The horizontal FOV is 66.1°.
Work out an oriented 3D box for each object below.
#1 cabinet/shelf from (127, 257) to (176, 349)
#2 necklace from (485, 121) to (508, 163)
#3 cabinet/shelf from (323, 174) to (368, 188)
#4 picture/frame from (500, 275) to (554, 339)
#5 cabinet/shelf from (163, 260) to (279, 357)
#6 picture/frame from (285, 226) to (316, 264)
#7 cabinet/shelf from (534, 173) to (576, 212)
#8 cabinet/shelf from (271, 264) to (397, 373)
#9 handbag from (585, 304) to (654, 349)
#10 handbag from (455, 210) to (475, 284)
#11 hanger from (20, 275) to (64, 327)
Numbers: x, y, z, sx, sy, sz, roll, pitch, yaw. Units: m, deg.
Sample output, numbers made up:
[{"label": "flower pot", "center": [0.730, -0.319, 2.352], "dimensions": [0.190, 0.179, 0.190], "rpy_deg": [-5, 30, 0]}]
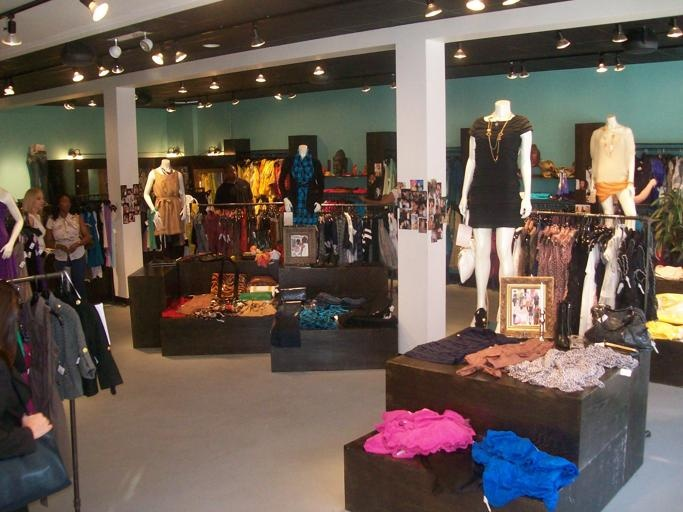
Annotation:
[{"label": "cabinet/shelf", "center": [-2.479, 0.644, 6.910], "dimensions": [0.330, 0.863, 0.994], "rpy_deg": [0, 10, -2]}, {"label": "necklace", "center": [1.486, -1.111, 5.055], "dimensions": [0.201, 0.367, 0.078], "rpy_deg": [1, 10, 17]}, {"label": "cabinet/shelf", "center": [0.010, -1.563, 10.948], "dimensions": [0.997, 0.279, 0.388], "rpy_deg": [4, 12, 27]}, {"label": "picture/frame", "center": [1.549, 0.433, 4.382], "dimensions": [0.446, 0.566, 0.045], "rpy_deg": [0, -4, 10]}, {"label": "cabinet/shelf", "center": [-1.614, 0.972, 6.988], "dimensions": [1.487, 1.182, 1.122], "rpy_deg": [-1, 10, -3]}, {"label": "picture/frame", "center": [-0.555, -0.156, 7.002], "dimensions": [0.428, 0.502, 0.200], "rpy_deg": [-3, 10, -5]}, {"label": "cabinet/shelf", "center": [3.616, -1.107, 9.002], "dimensions": [0.692, 0.552, 1.008], "rpy_deg": [3, 12, 22]}, {"label": "cabinet/shelf", "center": [-0.005, 0.933, 6.630], "dimensions": [1.184, 0.838, 1.305], "rpy_deg": [1, 18, 3]}, {"label": "handbag", "center": [2.093, 0.535, 4.161], "dimensions": [0.217, 0.295, 0.640], "rpy_deg": [-3, 1, -16]}, {"label": "handbag", "center": [1.322, -0.091, 5.629], "dimensions": [0.188, 0.856, 0.617], "rpy_deg": [1, 10, 13]}, {"label": "hanger", "center": [-2.255, 0.331, 3.952], "dimensions": [0.096, 0.204, 0.340], "rpy_deg": [3, 8, 11]}]
